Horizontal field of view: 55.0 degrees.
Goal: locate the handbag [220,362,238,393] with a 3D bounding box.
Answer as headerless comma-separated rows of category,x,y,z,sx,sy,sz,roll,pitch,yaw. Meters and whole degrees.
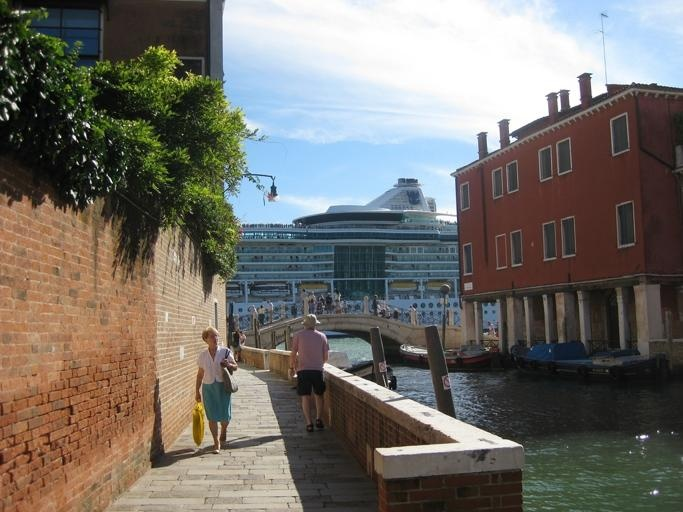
handbag,-1.773,1.956,10.445,0.218,0.441,0.387,6,-6,8

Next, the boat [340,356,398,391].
boat,0.909,4.854,27.309,1.241,0.830,5.188,0,-18,4

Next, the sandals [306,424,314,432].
sandals,-0.587,3.166,12.094,0.116,0.105,0.374,0,-9,-7

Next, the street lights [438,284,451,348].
street lights,6.627,4.160,42.651,0.692,4.392,0.677,-2,5,-22
